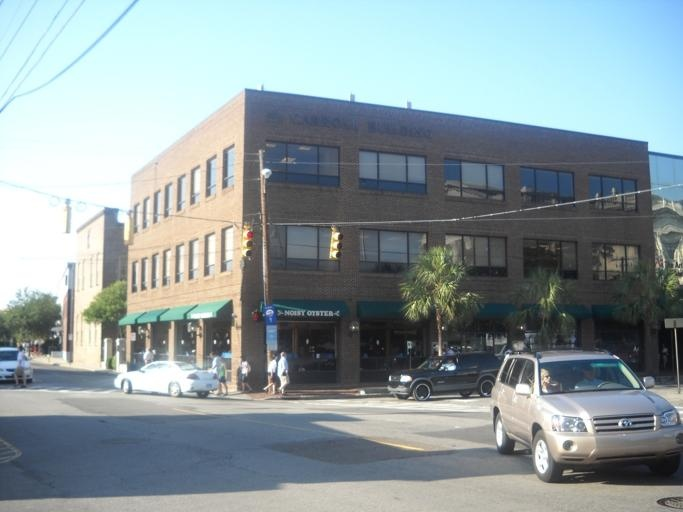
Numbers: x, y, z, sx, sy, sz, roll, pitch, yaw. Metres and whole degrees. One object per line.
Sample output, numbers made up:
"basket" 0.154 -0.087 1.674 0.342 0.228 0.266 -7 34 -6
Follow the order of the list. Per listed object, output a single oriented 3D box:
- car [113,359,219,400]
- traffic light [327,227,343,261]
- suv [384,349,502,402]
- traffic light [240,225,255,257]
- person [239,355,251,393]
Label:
"car" -7.763 5.393 33.717 4.371 1.537 1.193 1 2 27
"traffic light" -0.193 -0.484 28.291 0.391 1.148 0.823 0 2 -6
"suv" 4.515 5.179 32.804 4.517 1.692 2.071 5 -11 -24
"traffic light" -3.722 -0.585 30.208 0.376 1.253 1.302 0 2 -10
"person" -4.624 5.608 36.317 0.603 1.613 1.482 0 2 -7
